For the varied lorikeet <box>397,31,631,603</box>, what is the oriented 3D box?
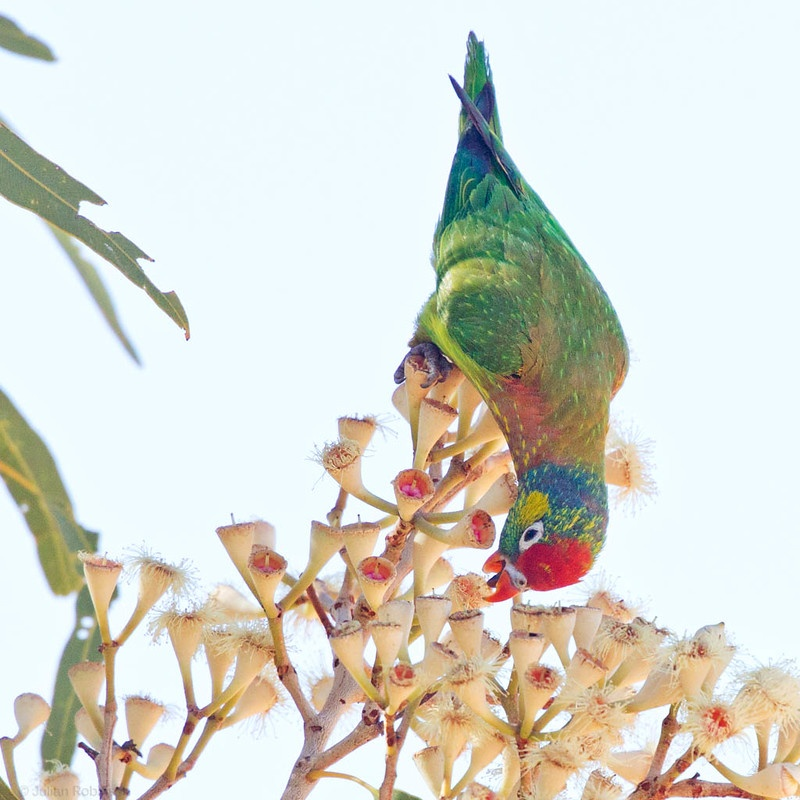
[{"bbox_3d":[0.509,-0.556,6.128,0.791,2.733,0.663,-11,-29,32],"label":"varied lorikeet"}]
